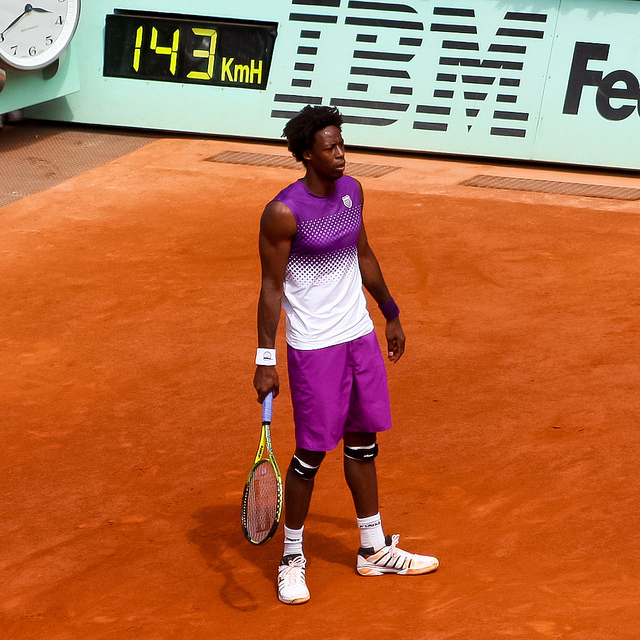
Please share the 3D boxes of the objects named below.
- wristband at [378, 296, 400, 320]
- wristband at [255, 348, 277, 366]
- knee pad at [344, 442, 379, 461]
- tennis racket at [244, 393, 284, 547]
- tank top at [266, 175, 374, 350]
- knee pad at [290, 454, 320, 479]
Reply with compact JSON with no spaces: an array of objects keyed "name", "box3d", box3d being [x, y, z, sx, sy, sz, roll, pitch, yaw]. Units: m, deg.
[{"name":"wristband","box3d":[0.341,-0.062,3.742,0.087,0.083,0.104,-42,8,-20]},{"name":"wristband","box3d":[-0.230,0.152,3.211,0.079,0.075,0.071,2,16,-7]},{"name":"knee pad","box3d":[0.182,0.594,3.449,0.096,0.043,0.113,-1,6,1]},{"name":"tennis racket","box3d":[-0.273,0.737,3.669,0.072,0.864,0.310,-6,49,-19]},{"name":"tank top","box3d":[0.044,-0.259,3.314,0.472,0.707,0.355,-8,21,-35]},{"name":"knee pad","box3d":[-0.074,0.649,3.390,0.091,0.069,0.114,18,-4,-4]}]
